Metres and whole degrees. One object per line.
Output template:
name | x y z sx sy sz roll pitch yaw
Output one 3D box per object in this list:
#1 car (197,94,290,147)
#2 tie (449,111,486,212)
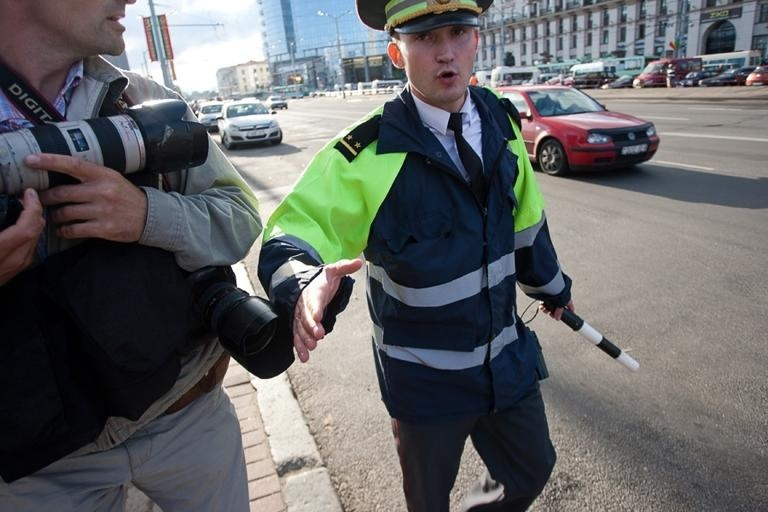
car | -5.116 -5.101 17.999 2.820 2.466 6.115 -11 18 -17
tie | 0.367 -0.420 2.043 0.112 0.491 0.076 -16 -7 11
